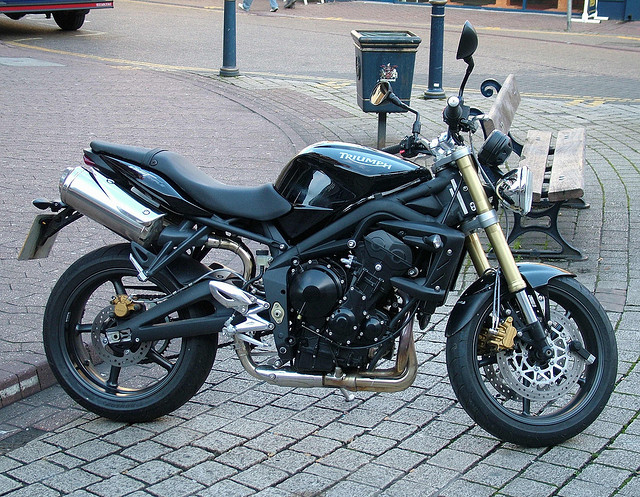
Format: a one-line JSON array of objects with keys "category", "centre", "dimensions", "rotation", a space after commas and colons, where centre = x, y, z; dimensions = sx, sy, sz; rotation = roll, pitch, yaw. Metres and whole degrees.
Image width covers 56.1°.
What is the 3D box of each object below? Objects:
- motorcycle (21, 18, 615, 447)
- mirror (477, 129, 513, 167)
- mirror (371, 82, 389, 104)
[{"category": "motorcycle", "centre": [0.022, 0.119, 3.397], "dimensions": [3.251, 1.509, 1.177], "rotation": [3, -3, 5]}, {"category": "mirror", "centre": [0.906, -0.516, 3.116], "dimensions": [0.146, 0.187, 0.250], "rotation": [10, 21, 20]}, {"category": "mirror", "centre": [0.290, -0.760, 2.937], "dimensions": [0.050, 0.107, 0.098], "rotation": [29, 3, -25]}]
